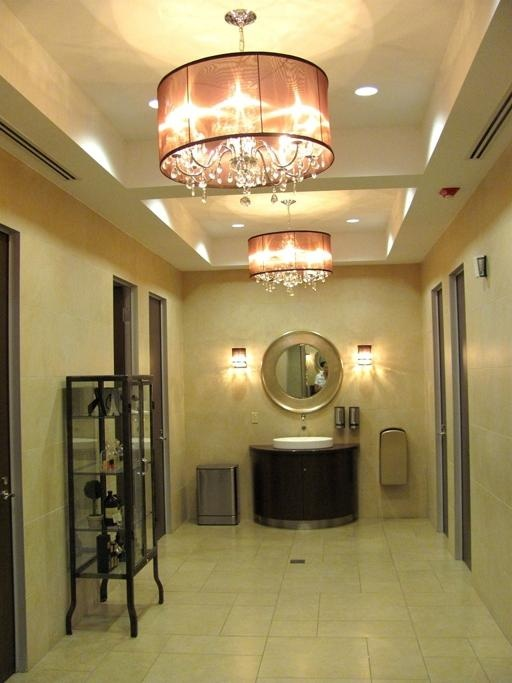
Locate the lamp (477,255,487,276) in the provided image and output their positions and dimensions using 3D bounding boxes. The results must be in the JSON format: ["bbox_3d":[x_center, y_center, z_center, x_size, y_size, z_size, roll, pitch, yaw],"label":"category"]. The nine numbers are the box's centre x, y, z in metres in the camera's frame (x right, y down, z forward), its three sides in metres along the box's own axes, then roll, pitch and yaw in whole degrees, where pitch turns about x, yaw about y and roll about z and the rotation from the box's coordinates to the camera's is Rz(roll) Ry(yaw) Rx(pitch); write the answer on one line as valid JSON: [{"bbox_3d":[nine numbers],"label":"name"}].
[{"bbox_3d":[1.446,-0.475,3.290,0.039,0.154,0.124,-3,-8,11],"label":"lamp"}]

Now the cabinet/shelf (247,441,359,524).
[{"bbox_3d":[0.560,1.669,6.113,1.322,0.995,0.695,-1,5,2],"label":"cabinet/shelf"}]

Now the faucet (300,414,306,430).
[{"bbox_3d":[0.581,1.006,6.409,0.065,0.206,0.081,-5,-8,24],"label":"faucet"}]

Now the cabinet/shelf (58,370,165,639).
[{"bbox_3d":[-0.963,1.028,3.433,0.502,1.604,0.655,-1,-7,-4],"label":"cabinet/shelf"}]

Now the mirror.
[{"bbox_3d":[0.589,0.377,6.493,1.019,1.193,0.044,-2,-31,4],"label":"mirror"}]
